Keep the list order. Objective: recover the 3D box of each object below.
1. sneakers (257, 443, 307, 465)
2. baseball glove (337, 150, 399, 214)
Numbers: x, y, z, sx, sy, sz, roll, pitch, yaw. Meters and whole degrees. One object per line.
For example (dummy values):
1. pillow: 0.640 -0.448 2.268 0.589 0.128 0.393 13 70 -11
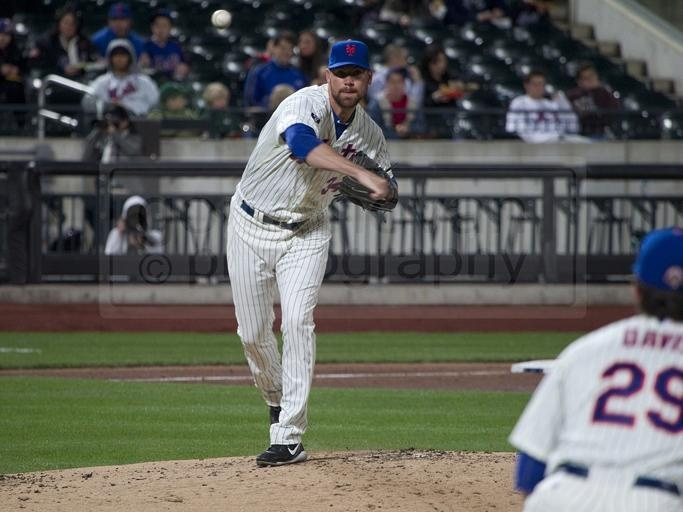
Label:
1. sneakers: -0.607 2.073 20.706 0.566 0.255 0.188 2 -5 -20
2. baseball glove: 0.276 -0.739 20.679 0.671 0.488 0.323 30 6 6
